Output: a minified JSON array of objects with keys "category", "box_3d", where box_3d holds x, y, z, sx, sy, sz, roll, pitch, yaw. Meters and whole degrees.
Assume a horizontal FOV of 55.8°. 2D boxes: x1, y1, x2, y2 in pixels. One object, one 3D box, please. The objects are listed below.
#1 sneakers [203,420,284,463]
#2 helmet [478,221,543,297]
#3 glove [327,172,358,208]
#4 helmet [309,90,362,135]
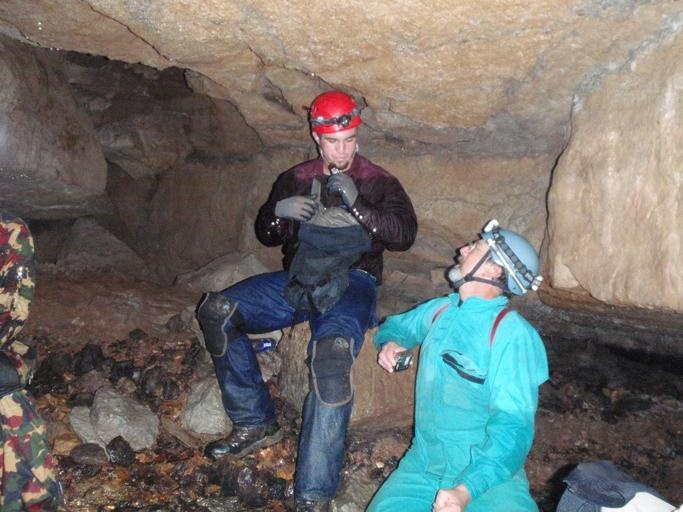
[{"category":"sneakers","box_3d":[-0.813,1.529,5.456,0.677,0.289,0.248,-6,8,-22]},{"category":"helmet","box_3d":[1.225,0.013,4.758,0.521,0.449,0.453,17,9,-2]},{"category":"glove","box_3d":[0.018,-0.520,5.305,0.228,0.304,0.132,2,2,18]},{"category":"helmet","box_3d":[-0.080,-1.236,5.573,0.402,0.250,0.399,-33,58,-20]}]
